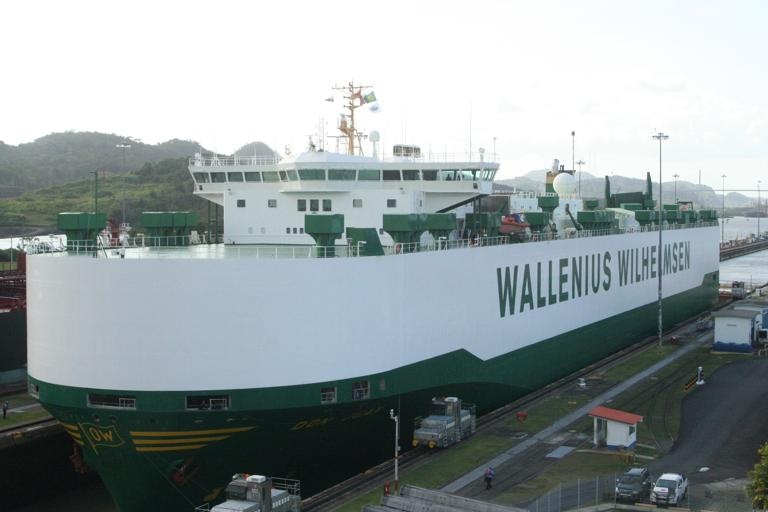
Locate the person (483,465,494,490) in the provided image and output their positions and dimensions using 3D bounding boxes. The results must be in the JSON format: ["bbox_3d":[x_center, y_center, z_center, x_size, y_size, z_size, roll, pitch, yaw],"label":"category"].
[{"bbox_3d":[4.935,10.081,47.215,0.427,0.939,1.275,2,2,6],"label":"person"}]

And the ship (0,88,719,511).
[{"bbox_3d":[3.736,2.456,65.665,15.639,20.038,53.758,1,2,33],"label":"ship"}]

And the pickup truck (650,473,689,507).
[{"bbox_3d":[12.900,10.457,46.070,0.834,0.833,2.262,-2,0,23],"label":"pickup truck"}]

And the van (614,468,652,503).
[{"bbox_3d":[11.559,10.378,46.854,1.019,0.998,1.772,-4,-2,25],"label":"van"}]
